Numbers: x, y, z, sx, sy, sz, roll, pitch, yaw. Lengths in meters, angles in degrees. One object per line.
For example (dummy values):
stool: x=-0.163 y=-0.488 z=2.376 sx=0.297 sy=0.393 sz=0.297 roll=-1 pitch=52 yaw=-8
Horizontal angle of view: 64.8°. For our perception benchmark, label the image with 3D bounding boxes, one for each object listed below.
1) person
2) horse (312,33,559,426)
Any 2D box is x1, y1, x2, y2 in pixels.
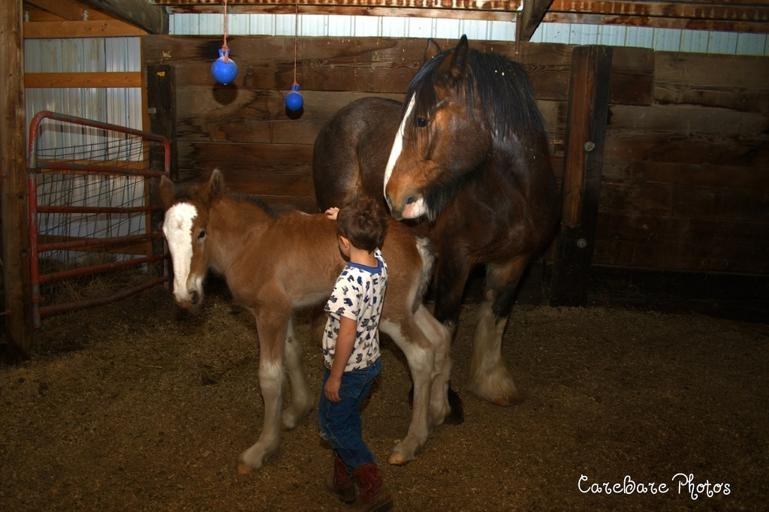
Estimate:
person: x=-0.234 y=0.791 z=4.684 sx=0.520 sy=2.310 sz=0.812 roll=0 pitch=20 yaw=-5
horse: x=0.603 y=-0.502 z=7.278 sx=1.934 sy=3.617 sz=5.165 roll=-1 pitch=13 yaw=-8
